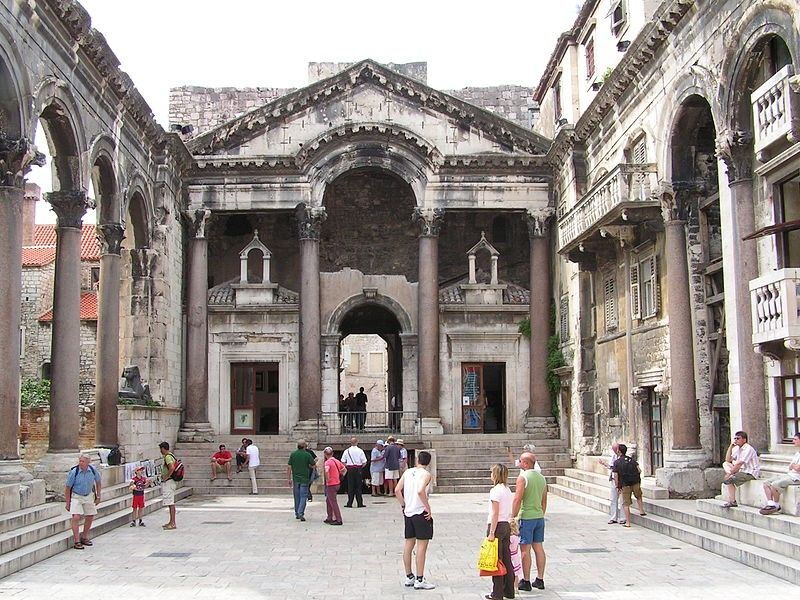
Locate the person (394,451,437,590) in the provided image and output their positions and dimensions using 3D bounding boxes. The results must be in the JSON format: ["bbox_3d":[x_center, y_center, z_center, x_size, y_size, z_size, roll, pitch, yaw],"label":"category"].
[{"bbox_3d":[0.267,3.733,14.236,0.641,2.251,0.704,-4,-12,22],"label":"person"}]

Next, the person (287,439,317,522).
[{"bbox_3d":[-2.461,4.574,21.128,0.584,1.901,1.261,2,-12,-5],"label":"person"}]

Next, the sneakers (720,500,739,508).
[{"bbox_3d":[6.843,4.284,17.546,0.322,0.129,0.126,-1,-19,18],"label":"sneakers"}]

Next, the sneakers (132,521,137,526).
[{"bbox_3d":[-6.192,5.269,19.724,0.063,0.152,0.151,4,-25,-12],"label":"sneakers"}]

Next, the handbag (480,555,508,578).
[{"bbox_3d":[1.424,4.081,12.863,0.399,0.431,0.206,0,-7,0],"label":"handbag"}]

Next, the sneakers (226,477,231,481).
[{"bbox_3d":[-5.450,5.755,26.928,0.077,0.120,0.037,-1,-2,6],"label":"sneakers"}]

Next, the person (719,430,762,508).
[{"bbox_3d":[7.030,3.535,17.469,0.786,1.529,0.601,-5,-13,28],"label":"person"}]

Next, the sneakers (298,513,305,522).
[{"bbox_3d":[-2.396,5.383,20.729,0.173,0.148,0.317,2,-12,-8],"label":"sneakers"}]

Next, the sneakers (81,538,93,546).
[{"bbox_3d":[-6.349,4.983,17.238,0.093,0.128,0.283,1,-1,40],"label":"sneakers"}]

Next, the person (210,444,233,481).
[{"bbox_3d":[-5.732,5.266,27.168,0.709,1.331,0.928,3,-4,-8],"label":"person"}]

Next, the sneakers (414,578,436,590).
[{"bbox_3d":[0.438,4.801,14.157,0.403,0.193,0.144,1,-2,-8],"label":"sneakers"}]

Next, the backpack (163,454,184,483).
[{"bbox_3d":[-5.145,3.888,19.414,0.616,0.670,0.459,-2,-6,-2],"label":"backpack"}]

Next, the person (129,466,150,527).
[{"bbox_3d":[-6.037,4.588,19.598,0.315,1.357,1.275,4,-12,-15],"label":"person"}]

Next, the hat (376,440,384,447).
[{"bbox_3d":[-0.591,4.386,25.734,0.200,0.160,0.289,3,-20,2],"label":"hat"}]

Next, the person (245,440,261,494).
[{"bbox_3d":[-4.666,5.303,26.688,0.482,1.721,1.103,3,-12,-10],"label":"person"}]

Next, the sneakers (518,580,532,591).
[{"bbox_3d":[2.070,4.757,13.950,0.268,0.212,0.096,2,-4,10],"label":"sneakers"}]

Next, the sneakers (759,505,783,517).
[{"bbox_3d":[7.107,4.084,16.215,0.392,0.188,0.154,0,-7,-1],"label":"sneakers"}]

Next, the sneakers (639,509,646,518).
[{"bbox_3d":[5.617,4.976,19.588,0.086,0.115,0.278,-5,-15,-4],"label":"sneakers"}]

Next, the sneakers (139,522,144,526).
[{"bbox_3d":[-6.062,5.295,19.848,0.121,0.130,0.063,0,-2,-1],"label":"sneakers"}]

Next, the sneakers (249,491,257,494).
[{"bbox_3d":[-4.551,6.053,26.292,0.148,0.061,0.112,0,-4,2],"label":"sneakers"}]

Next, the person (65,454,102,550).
[{"bbox_3d":[-6.402,4.098,16.954,0.603,1.830,0.704,7,-13,-28],"label":"person"}]

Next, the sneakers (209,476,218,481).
[{"bbox_3d":[-5.948,5.739,27.024,0.215,0.200,0.240,1,-12,-3],"label":"sneakers"}]

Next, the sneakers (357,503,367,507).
[{"bbox_3d":[-1.057,5.717,23.208,0.189,0.099,0.411,0,-13,2],"label":"sneakers"}]

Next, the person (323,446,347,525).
[{"bbox_3d":[-1.600,4.580,20.572,0.484,1.786,1.569,2,-12,-5],"label":"person"}]

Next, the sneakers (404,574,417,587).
[{"bbox_3d":[0.170,4.779,14.270,0.101,0.134,0.296,1,-6,10],"label":"sneakers"}]
